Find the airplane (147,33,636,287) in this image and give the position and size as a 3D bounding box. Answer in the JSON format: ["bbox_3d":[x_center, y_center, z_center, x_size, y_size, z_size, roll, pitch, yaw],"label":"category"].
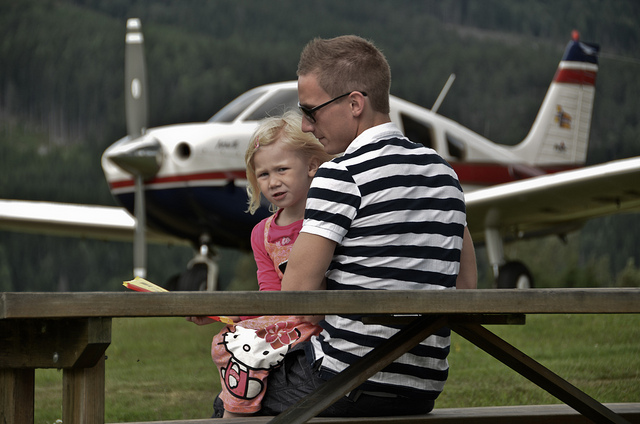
[{"bbox_3d":[1.800,-0.907,31.971,7.816,3.033,6.797,-3,-8,45],"label":"airplane"}]

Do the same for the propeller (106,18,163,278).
[{"bbox_3d":[-3.980,-1.536,30.271,0.896,5.103,0.857,3,3,20],"label":"propeller"}]
